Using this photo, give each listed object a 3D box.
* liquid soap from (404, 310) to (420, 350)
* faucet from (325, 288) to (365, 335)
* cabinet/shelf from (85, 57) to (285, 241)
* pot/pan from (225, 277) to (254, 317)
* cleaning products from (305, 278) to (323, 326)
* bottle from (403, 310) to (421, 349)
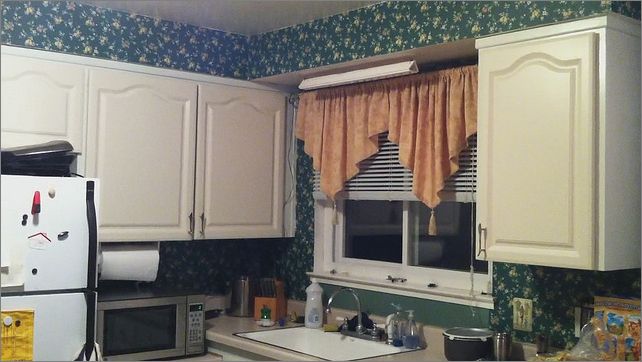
[{"bbox_3d":[0.687,1.124,4.081,0.146,0.278,0.106,1,-6,-9],"label":"liquid soap"},{"bbox_3d":[0.215,1.047,4.407,0.369,0.420,0.282,4,-13,-16],"label":"faucet"},{"bbox_3d":[-1.229,-0.178,4.783,1.853,1.429,0.691,2,0,-39],"label":"cabinet/shelf"},{"bbox_3d":[-0.706,1.048,4.831,0.222,0.327,0.108,0,-6,1],"label":"pot/pan"},{"bbox_3d":[-0.058,1.036,4.577,0.147,0.401,0.108,0,-6,-6],"label":"cleaning products"},{"bbox_3d":[0.673,1.125,4.090,0.147,0.283,0.145,0,-5,0],"label":"bottle"}]
